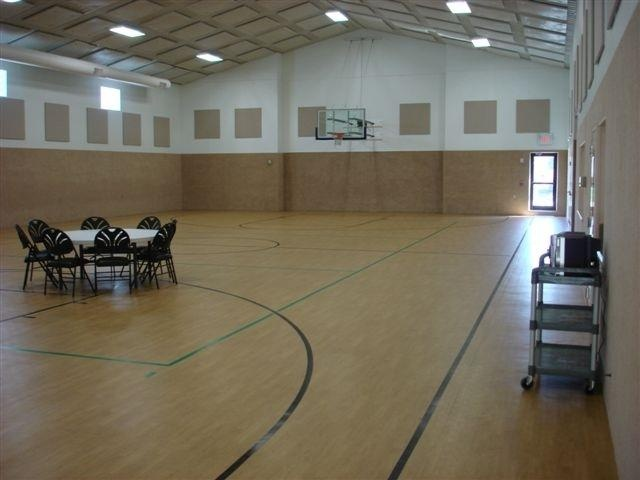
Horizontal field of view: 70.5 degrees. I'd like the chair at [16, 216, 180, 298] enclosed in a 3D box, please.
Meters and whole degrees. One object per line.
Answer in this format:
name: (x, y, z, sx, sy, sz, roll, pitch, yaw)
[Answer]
chair: (-3.956, 0.250, 7.947, 2.544, 1.066, 2.192, 4, 9, 45)
